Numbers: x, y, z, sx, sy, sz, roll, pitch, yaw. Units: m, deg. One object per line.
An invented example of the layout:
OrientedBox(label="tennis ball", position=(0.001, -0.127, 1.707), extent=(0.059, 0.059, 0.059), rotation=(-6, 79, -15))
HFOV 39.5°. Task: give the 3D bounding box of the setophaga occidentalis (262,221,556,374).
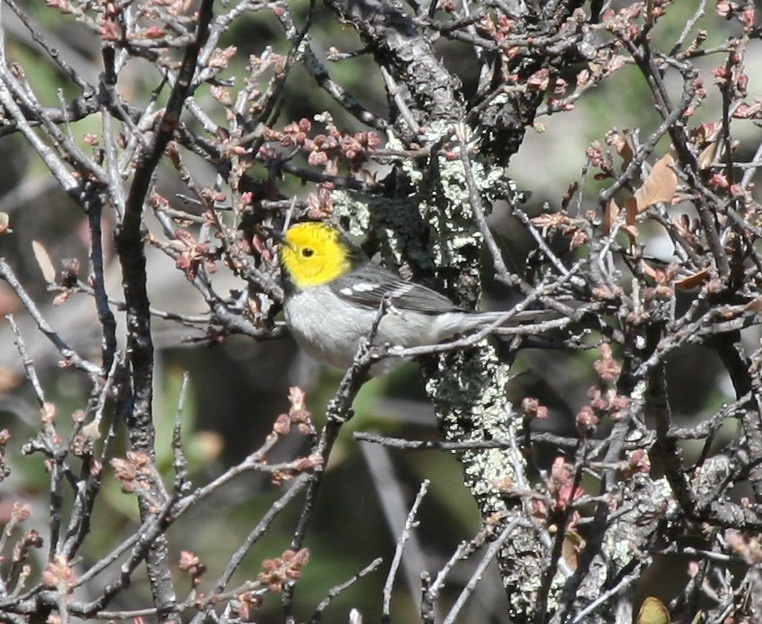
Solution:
OrientedBox(label="setophaga occidentalis", position=(0.175, -0.096, 5.170), extent=(1.325, 0.702, 0.563), rotation=(-4, -1, -18))
